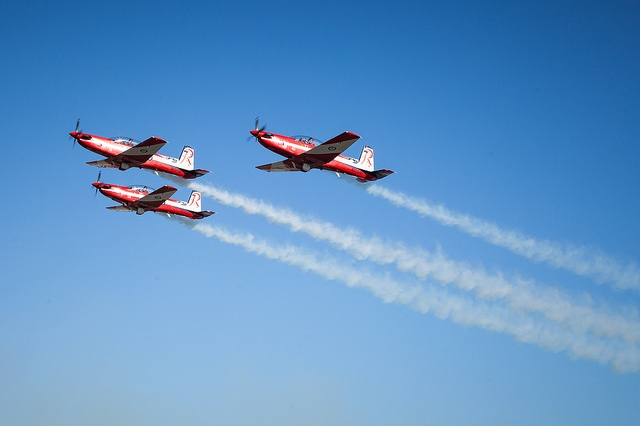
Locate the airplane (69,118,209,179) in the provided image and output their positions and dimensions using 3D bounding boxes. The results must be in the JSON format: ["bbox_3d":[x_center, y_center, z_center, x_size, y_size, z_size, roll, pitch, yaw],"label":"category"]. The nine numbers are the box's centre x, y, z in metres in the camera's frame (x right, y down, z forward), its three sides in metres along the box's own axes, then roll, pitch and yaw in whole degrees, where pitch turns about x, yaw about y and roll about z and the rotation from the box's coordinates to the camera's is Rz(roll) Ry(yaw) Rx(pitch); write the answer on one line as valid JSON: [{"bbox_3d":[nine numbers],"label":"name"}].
[{"bbox_3d":[-9.828,-3.001,46.779,4.614,4.713,1.282,14,67,-19],"label":"airplane"}]

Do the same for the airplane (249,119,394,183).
[{"bbox_3d":[-0.078,-2.568,51.230,6.716,6.831,1.882,19,63,-21],"label":"airplane"}]

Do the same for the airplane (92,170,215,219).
[{"bbox_3d":[-10.218,-0.637,53.474,5.667,5.768,1.610,13,69,-14],"label":"airplane"}]
